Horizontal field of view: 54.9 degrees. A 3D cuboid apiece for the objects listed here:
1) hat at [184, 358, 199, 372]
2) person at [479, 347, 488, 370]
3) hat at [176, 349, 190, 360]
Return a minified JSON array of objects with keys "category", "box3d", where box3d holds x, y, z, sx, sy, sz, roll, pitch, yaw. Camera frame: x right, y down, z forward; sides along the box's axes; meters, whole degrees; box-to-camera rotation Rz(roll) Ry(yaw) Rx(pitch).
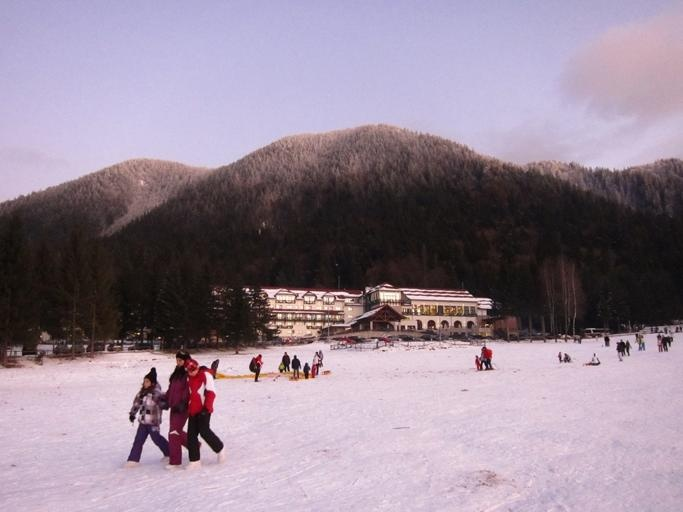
[{"category":"hat","box3d":[-5.087,3.666,22.286,0.534,0.435,0.314,-7,-10,27]},{"category":"person","box3d":[9.922,6.965,45.372,0.617,1.603,1.273,-3,-9,12]},{"category":"hat","box3d":[-5.478,3.435,22.622,0.311,0.408,0.421,5,10,32]}]
